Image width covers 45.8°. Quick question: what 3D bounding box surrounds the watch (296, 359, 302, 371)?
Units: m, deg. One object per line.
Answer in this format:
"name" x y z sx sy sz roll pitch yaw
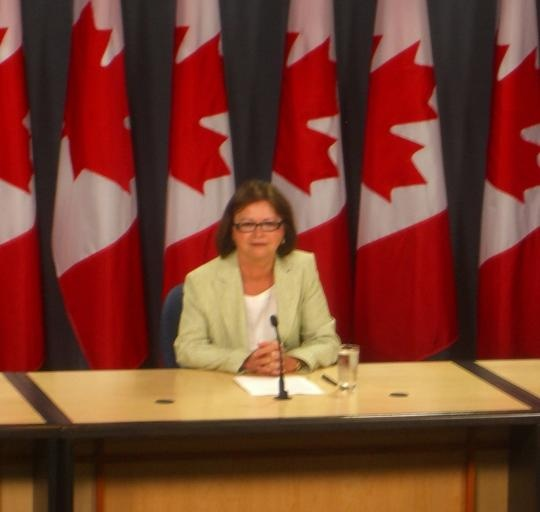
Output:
"watch" 0.102 0.387 2.277 0.009 0.029 0.018 -11 -12 10
